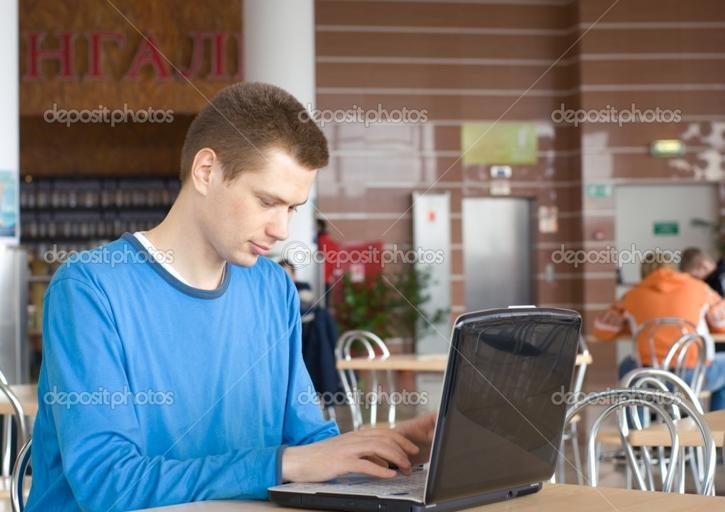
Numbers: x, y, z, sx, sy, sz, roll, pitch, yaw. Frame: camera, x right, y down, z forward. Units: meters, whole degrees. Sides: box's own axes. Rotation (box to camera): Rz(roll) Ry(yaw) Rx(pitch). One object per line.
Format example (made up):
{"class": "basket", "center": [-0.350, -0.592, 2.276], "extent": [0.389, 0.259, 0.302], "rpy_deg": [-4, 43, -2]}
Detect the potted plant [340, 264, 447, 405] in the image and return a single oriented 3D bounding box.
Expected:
{"class": "potted plant", "center": [0.064, 0.141, 2.221], "extent": [0.187, 0.197, 0.147], "rpy_deg": [2, -6, 8]}
